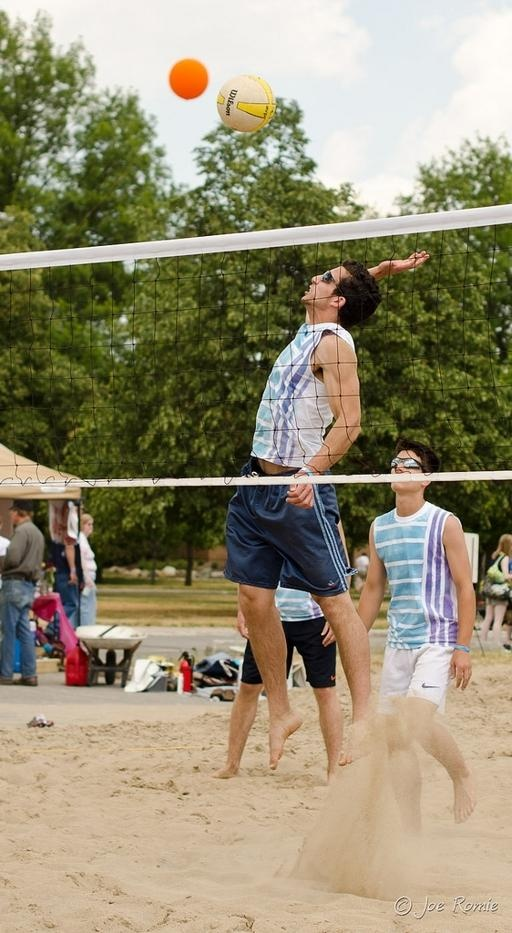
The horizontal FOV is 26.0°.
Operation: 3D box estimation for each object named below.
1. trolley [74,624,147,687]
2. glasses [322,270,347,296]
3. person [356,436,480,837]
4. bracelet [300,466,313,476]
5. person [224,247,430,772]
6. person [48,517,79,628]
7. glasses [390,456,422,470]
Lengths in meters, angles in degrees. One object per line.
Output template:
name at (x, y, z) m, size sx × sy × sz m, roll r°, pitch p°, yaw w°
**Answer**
trolley at (-1.295, 1.720, 9.960) m, size 0.705 × 0.495 × 0.725 m, roll 3°, pitch -1°, yaw -31°
glasses at (0.323, -0.759, 4.503) m, size 0.034 × 0.113 × 0.106 m, roll -34°, pitch 28°, yaw -21°
person at (0.647, 0.647, 4.308) m, size 0.503 × 1.302 × 0.486 m, roll 3°, pitch 3°, yaw 10°
bracelet at (0.201, 0.018, 4.237) m, size 0.037 × 0.028 × 0.037 m, roll 7°, pitch -6°, yaw -27°
person at (0.231, 0.189, 4.647) m, size 0.992 × 1.999 × 0.645 m, roll 2°, pitch -2°, yaw -32°
person at (-1.978, 1.072, 11.622) m, size 0.314 × 0.802 × 1.404 m, roll -4°, pitch 2°, yaw -10°
glasses at (0.628, -0.012, 4.578) m, size 0.069 × 0.022 × 0.067 m, roll 28°, pitch -20°, yaw -39°
